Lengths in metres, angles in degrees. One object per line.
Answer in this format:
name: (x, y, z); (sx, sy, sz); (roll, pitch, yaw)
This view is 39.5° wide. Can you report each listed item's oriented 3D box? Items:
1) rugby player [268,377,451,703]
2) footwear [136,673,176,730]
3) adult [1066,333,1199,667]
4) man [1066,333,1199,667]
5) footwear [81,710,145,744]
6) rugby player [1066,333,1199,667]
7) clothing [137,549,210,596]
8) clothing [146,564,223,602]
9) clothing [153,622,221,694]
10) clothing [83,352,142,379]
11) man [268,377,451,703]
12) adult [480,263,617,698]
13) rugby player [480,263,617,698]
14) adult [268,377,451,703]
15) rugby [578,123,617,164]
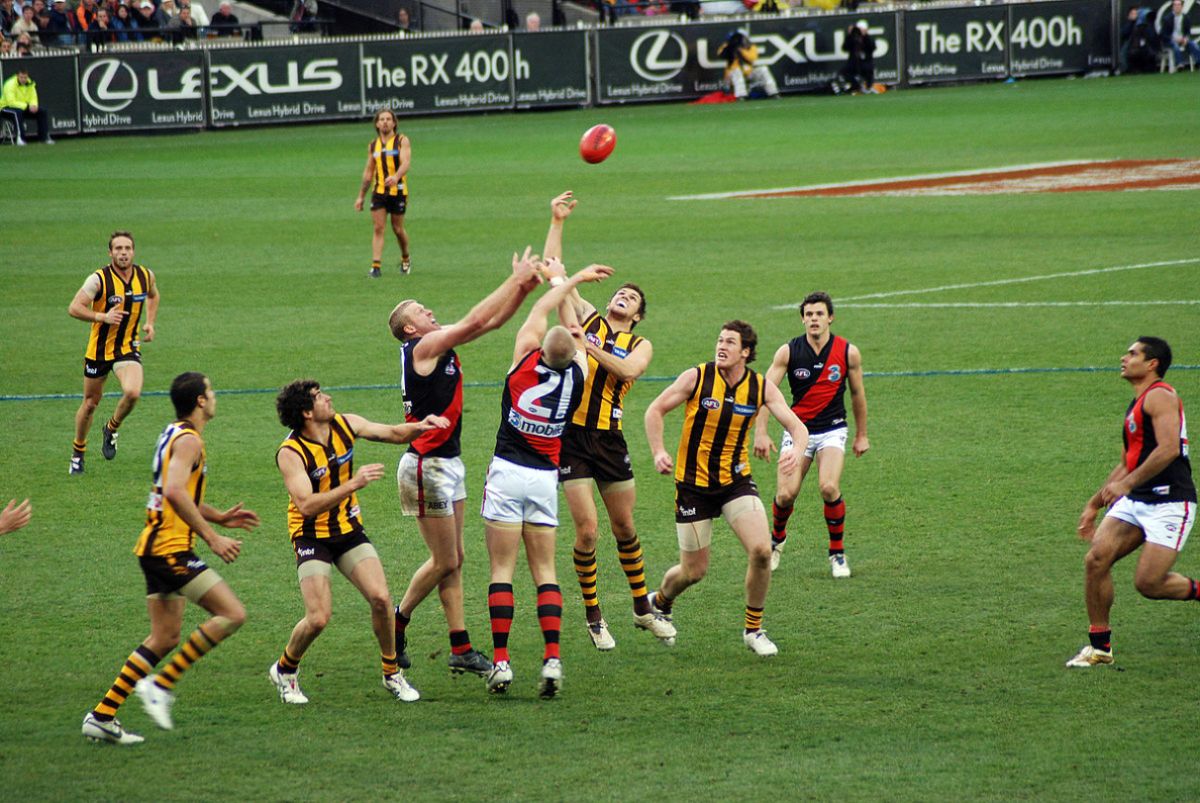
rugby player: (-2.522, 1.345, 16.076); (1.585, 3.117, 0.801); (-6, 14, -11)
footwear: (-4.161, 2.806, 15.682); (0.283, 0.521, 0.195); (-19, 11, 27)
adult: (5.241, 1.176, 16.329); (1.189, 2.649, 0.716); (-5, 13, -5)
man: (5.241, 1.176, 16.329); (1.189, 2.649, 0.716); (-5, 13, -5)
footwear: (-4.448, 3.075, 15.677); (0.730, 0.261, 0.236); (9, 14, -14)
rugby player: (5.227, 1.177, 16.328); (1.217, 2.649, 0.716); (-5, 13, -5)
clothing: (-4.038, 1.590, 15.821); (0.463, 0.414, 0.639); (-20, 18, -38)
clothing: (-3.867, 1.716, 15.695); (0.424, 0.308, 0.342); (-32, 12, 7)
clothing: (-3.893, 2.394, 15.715); (0.619, 0.561, 0.248); (-7, 13, -16)
clothing: (-6.017, -0.409, 20.616); (0.540, 0.247, 0.363); (-19, 41, -20)
man: (-2.520, 1.344, 16.081); (1.595, 3.117, 0.799); (-6, 14, -10)
adult: (-0.620, 0.780, 16.481); (1.065, 3.908, 1.930); (-2, 13, 7)
rugby player: (-0.637, 0.781, 16.478); (1.015, 3.908, 1.916); (-2, 13, 9)
adult: (-2.522, 1.344, 16.080); (1.591, 3.117, 0.796); (-6, 14, -10)
rugby: (-0.015, -3.080, 19.885); (0.366, 0.419, 0.621); (-3, 12, 3)
